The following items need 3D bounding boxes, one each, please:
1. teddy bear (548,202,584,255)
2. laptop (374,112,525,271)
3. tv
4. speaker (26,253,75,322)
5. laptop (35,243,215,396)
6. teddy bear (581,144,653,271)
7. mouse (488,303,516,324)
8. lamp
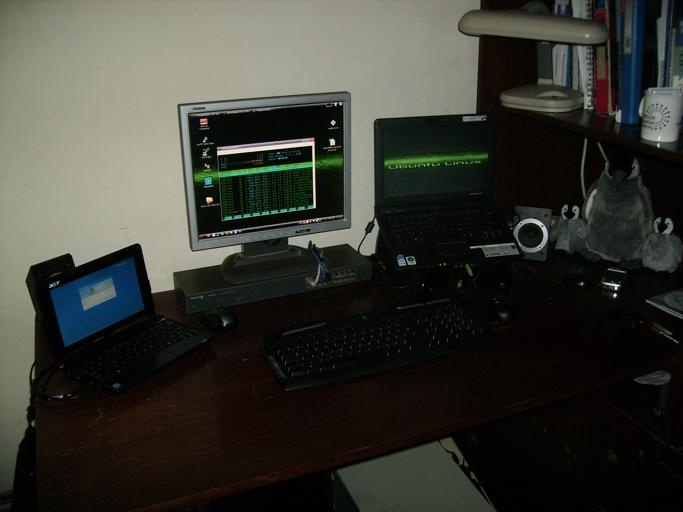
[{"bbox_3d":[0.784,-0.101,1.946,0.118,0.166,0.068,8,8,35],"label":"teddy bear"},{"bbox_3d":[0.294,-0.150,1.953,0.556,0.435,0.480,-6,47,-8],"label":"laptop"},{"bbox_3d":[-0.237,-0.228,1.708,0.512,0.498,0.157,-11,29,-22],"label":"tv"},{"bbox_3d":[-0.815,0.082,1.582,0.047,0.173,0.186,9,18,28],"label":"speaker"},{"bbox_3d":[-0.574,0.207,1.497,0.362,0.268,0.381,24,38,31],"label":"laptop"},{"bbox_3d":[0.916,-0.142,1.851,0.255,0.345,0.112,10,7,42],"label":"teddy bear"},{"bbox_3d":[0.468,0.164,1.634,0.046,0.016,0.066,0,30,1],"label":"mouse"},{"bbox_3d":[0.569,-0.636,1.730,0.451,0.328,0.320,6,17,7],"label":"lamp"}]
